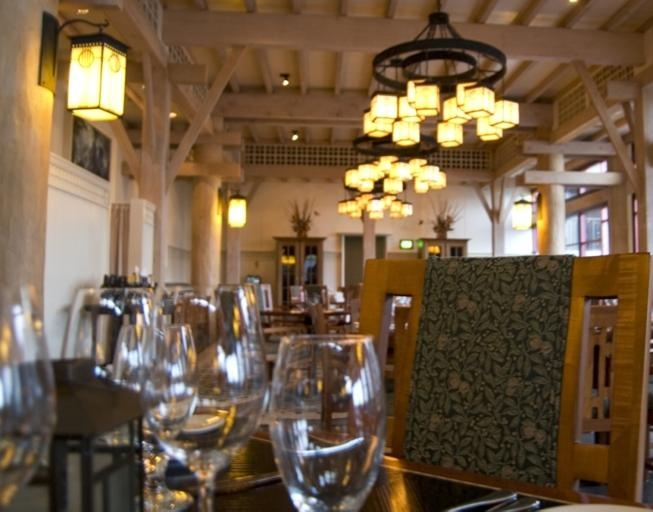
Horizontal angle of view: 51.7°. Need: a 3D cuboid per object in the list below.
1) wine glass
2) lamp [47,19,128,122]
[{"bbox_3d":[-0.202,0.181,0.886,0.217,0.419,0.202,6,-10,-12],"label":"wine glass"},{"bbox_3d":[-1.339,-1.065,3.739,0.335,0.578,0.274,-1,-2,11],"label":"lamp"}]
